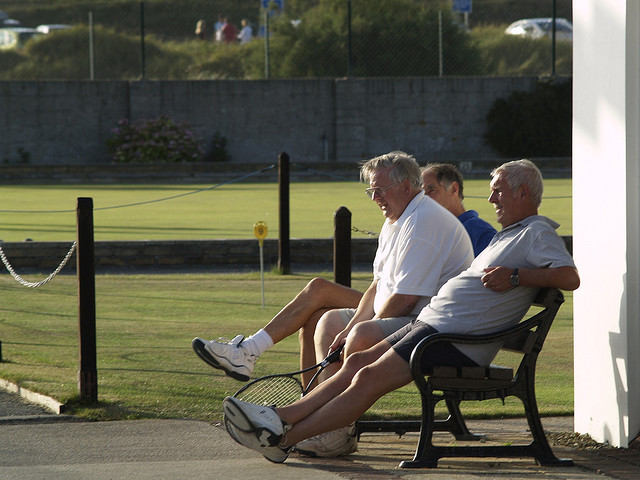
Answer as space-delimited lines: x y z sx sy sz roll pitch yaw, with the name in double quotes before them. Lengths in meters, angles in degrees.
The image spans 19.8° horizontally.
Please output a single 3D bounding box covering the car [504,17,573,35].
"car" 7.680 -7.460 63.683 1.451 0.570 3.092 -3 8 -20
